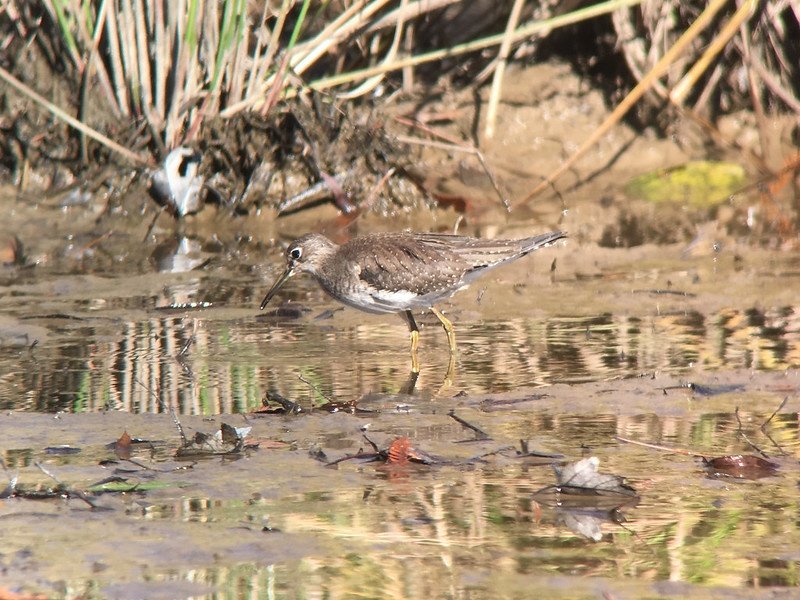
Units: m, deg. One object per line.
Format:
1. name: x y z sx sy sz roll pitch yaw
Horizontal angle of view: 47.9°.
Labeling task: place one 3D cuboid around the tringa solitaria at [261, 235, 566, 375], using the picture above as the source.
1. tringa solitaria: -0.020 -0.107 5.767 1.655 0.779 0.679 5 80 -1
